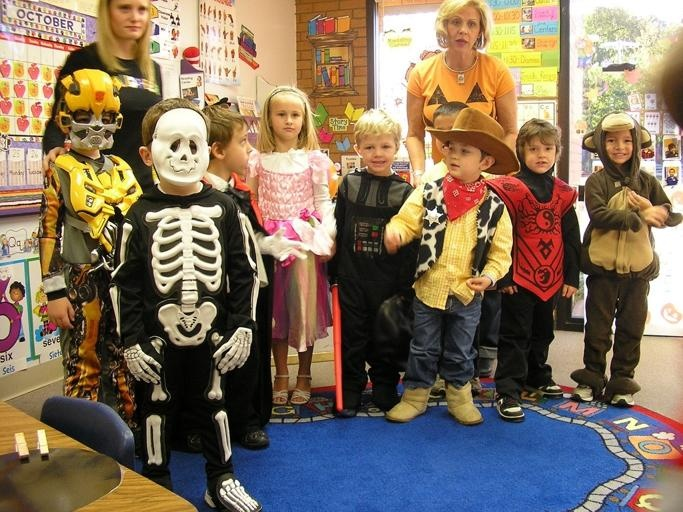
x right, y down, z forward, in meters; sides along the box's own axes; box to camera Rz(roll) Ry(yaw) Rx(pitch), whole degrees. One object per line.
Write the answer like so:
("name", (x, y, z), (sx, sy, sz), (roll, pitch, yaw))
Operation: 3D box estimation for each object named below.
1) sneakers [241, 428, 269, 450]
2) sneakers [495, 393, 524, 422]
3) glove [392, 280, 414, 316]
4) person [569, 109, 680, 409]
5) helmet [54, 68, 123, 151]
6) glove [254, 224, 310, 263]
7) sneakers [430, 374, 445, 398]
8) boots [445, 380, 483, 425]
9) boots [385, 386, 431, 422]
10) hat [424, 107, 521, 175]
("sneakers", (-0.352, 0.781, 2.307), (0.120, 0.077, 0.060), (-5, 8, 18))
("sneakers", (0.782, 0.714, 2.516), (0.064, 0.071, 0.169), (-1, -2, -6))
("glove", (0.300, 0.192, 2.591), (0.040, 0.138, 0.100), (3, 13, -13))
("person", (1.389, 0.009, 2.698), (0.412, 1.421, 0.639), (7, 14, 38))
("helmet", (-0.943, -0.544, 2.046), (0.230, 0.296, 0.170), (-9, 13, -34))
("glove", (-0.265, -0.028, 2.428), (0.199, 0.134, 0.065), (13, -10, -5))
("sneakers", (0.506, 0.694, 2.852), (0.061, 0.066, 0.160), (6, 24, 8))
("boots", (0.566, 0.679, 2.508), (0.102, 0.169, 0.233), (-7, 7, -21))
("boots", (0.317, 0.671, 2.547), (0.093, 0.172, 0.260), (9, 13, 43))
("hat", (0.600, -0.507, 2.429), (0.385, 0.297, 0.243), (-1, 11, 5))
